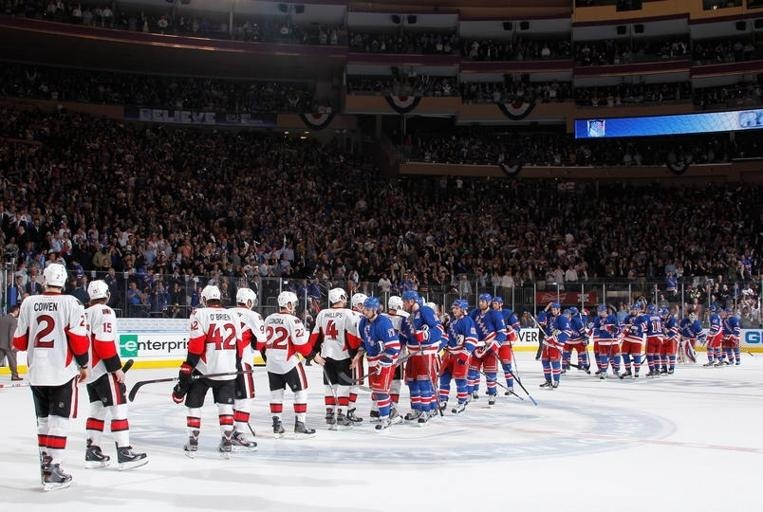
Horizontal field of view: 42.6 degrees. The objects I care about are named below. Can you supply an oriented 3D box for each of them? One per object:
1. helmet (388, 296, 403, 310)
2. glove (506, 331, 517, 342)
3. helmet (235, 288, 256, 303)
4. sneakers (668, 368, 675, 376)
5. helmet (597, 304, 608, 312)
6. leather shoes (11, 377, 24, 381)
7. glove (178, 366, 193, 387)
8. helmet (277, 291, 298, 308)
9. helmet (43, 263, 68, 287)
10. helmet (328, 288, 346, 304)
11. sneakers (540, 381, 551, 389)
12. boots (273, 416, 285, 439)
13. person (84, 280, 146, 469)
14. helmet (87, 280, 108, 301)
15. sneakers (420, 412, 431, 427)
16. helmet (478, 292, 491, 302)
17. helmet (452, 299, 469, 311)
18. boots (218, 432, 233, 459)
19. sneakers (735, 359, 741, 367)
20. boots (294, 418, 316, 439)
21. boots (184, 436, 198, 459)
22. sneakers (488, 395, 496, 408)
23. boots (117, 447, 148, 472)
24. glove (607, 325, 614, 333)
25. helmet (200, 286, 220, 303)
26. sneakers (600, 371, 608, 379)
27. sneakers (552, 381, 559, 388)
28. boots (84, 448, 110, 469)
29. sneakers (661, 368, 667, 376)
[{"bbox_3d":[0.342,1.196,24.959,0.344,0.309,0.264,-5,9,-22],"label":"helmet"},{"bbox_3d":[3.643,2.262,27.399,0.496,0.271,0.720,-2,-3,7],"label":"glove"},{"bbox_3d":[-3.252,0.934,23.127,0.453,0.442,0.356,-12,-7,37],"label":"helmet"},{"bbox_3d":[9.481,3.802,32.059,0.237,0.242,0.163,0,-7,7],"label":"sneakers"},{"bbox_3d":[7.049,1.678,31.321,0.203,0.219,0.278,-3,-13,18],"label":"helmet"},{"bbox_3d":[-10.588,3.579,28.324,0.259,0.120,0.096,-2,3,-15],"label":"leather shoes"},{"bbox_3d":[-4.365,2.674,21.699,0.314,0.459,0.180,5,-11,9],"label":"glove"},{"bbox_3d":[-2.241,1.066,23.394,0.481,0.433,0.374,-7,9,-19],"label":"helmet"},{"bbox_3d":[-7.012,0.433,21.050,0.478,0.550,0.600,1,13,-32],"label":"helmet"},{"bbox_3d":[-1.098,0.942,24.171,0.427,0.431,0.329,-12,30,-14],"label":"helmet"},{"bbox_3d":[4.871,3.838,28.974,0.453,0.204,0.152,1,-4,9],"label":"sneakers"},{"bbox_3d":[-2.462,4.042,23.202,0.259,0.501,0.411,0,14,-4],"label":"boots"},{"bbox_3d":[-5.969,2.610,21.105,1.437,3.985,1.093,15,20,43],"label":"person"},{"bbox_3d":[-6.256,0.720,21.397,0.398,0.465,0.501,-3,10,-14],"label":"helmet"},{"bbox_3d":[1.011,4.049,24.300,0.261,0.285,0.428,0,14,-2],"label":"sneakers"},{"bbox_3d":[3.032,1.232,28.988,0.295,0.242,0.222,21,-22,-30],"label":"helmet"},{"bbox_3d":[2.040,1.291,26.084,0.411,0.400,0.341,13,1,11],"label":"helmet"},{"bbox_3d":[-3.521,4.226,21.867,0.316,0.531,0.437,-2,15,-10],"label":"boots"},{"bbox_3d":[12.592,3.794,34.553,0.110,0.144,0.334,-12,-13,33],"label":"sneakers"},{"bbox_3d":[-1.839,4.040,23.216,0.517,0.488,0.350,-1,14,-8],"label":"boots"},{"bbox_3d":[-4.273,4.241,21.846,0.295,0.496,0.337,-4,15,-19],"label":"boots"},{"bbox_3d":[2.952,3.948,26.442,0.190,0.234,0.581,-2,-12,12],"label":"sneakers"},{"bbox_3d":[-5.474,4.383,21.170,0.706,0.524,0.349,-1,-4,-12],"label":"boots"},{"bbox_3d":[7.234,2.337,30.903,0.256,0.295,0.065,-1,14,-6],"label":"glove"},{"bbox_3d":[-3.897,0.869,22.160,0.323,0.339,0.366,1,11,-18],"label":"helmet"},{"bbox_3d":[7.081,3.813,31.313,0.181,0.232,0.580,-3,-7,16],"label":"sneakers"},{"bbox_3d":[5.125,3.803,28.981,0.195,0.147,0.260,6,24,-4],"label":"sneakers"},{"bbox_3d":[-6.239,4.390,21.232,0.609,0.422,0.295,3,-2,-44],"label":"boots"},{"bbox_3d":[9.227,3.770,31.929,0.194,0.224,0.348,5,15,17],"label":"sneakers"}]
